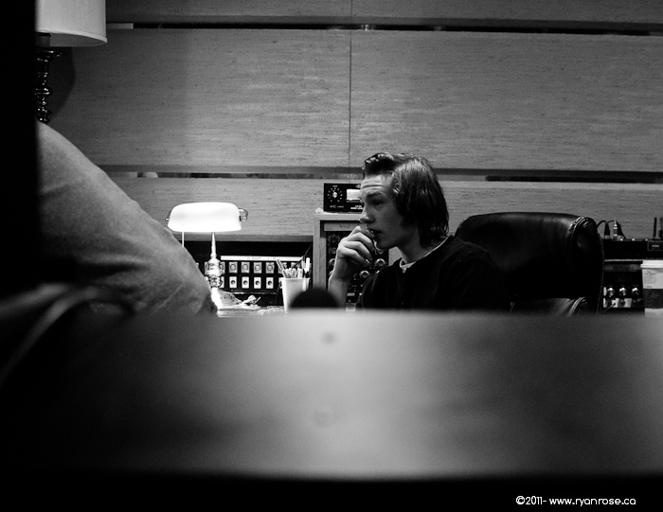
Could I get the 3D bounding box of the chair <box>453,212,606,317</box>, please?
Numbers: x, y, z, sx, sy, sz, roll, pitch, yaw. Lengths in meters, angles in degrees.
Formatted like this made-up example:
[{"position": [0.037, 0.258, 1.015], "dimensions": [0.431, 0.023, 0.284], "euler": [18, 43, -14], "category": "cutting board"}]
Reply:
[{"position": [0.482, 0.012, 1.734], "dimensions": [0.296, 0.378, 0.344], "euler": [-3, -4, 23], "category": "chair"}]
